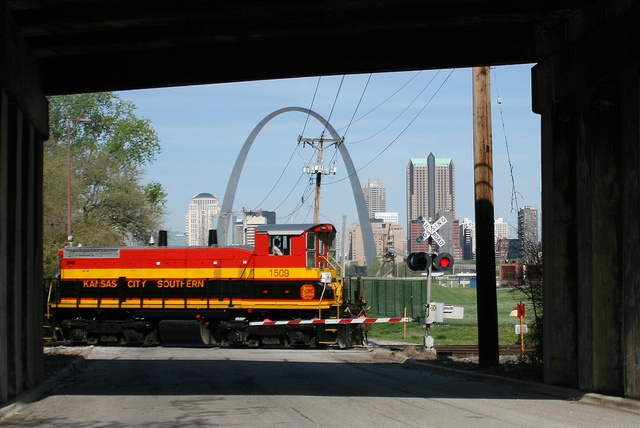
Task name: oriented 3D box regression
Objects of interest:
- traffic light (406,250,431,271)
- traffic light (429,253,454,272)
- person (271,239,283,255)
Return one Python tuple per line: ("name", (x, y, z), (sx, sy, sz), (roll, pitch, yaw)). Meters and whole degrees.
("traffic light", (3.191, 1.549, 28.249), (0.693, 0.611, 0.810), (2, -6, -9))
("traffic light", (3.938, 1.557, 28.237), (0.676, 0.579, 0.803), (0, -6, 9))
("person", (-1.657, 1.334, 33.761), (0.248, 0.719, 0.268), (-6, 13, 15))
